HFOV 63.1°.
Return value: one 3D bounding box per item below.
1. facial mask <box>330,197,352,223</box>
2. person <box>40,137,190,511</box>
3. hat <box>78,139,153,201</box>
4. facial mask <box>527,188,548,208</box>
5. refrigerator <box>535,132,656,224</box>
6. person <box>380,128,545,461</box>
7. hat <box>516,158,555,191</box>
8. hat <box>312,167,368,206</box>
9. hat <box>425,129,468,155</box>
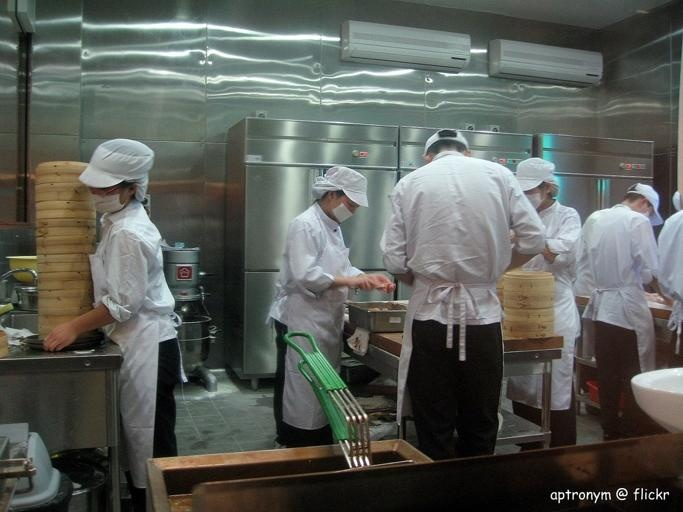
[{"bbox_3d":[-0.002,-0.250,3.043,0.079,0.104,0.109,-44,-27,18],"label":"facial mask"},{"bbox_3d":[-0.936,0.309,2.388,0.382,1.571,0.534,-4,-11,13],"label":"person"},{"bbox_3d":[-0.913,-0.364,2.363,0.285,0.254,0.199,1,40,-49],"label":"hat"},{"bbox_3d":[1.183,-0.351,3.357,0.126,0.087,0.125,-5,15,16],"label":"facial mask"},{"bbox_3d":[2.184,-0.680,4.832,1.181,0.986,0.401,3,-4,-24],"label":"refrigerator"},{"bbox_3d":[0.518,0.189,2.335,0.671,1.290,0.363,-4,-12,17],"label":"person"},{"bbox_3d":[1.200,-0.503,3.359,0.301,0.139,0.205,-12,12,-41],"label":"hat"},{"bbox_3d":[-0.001,-0.386,3.033,0.279,0.147,0.222,11,8,32],"label":"hat"},{"bbox_3d":[0.474,-0.520,2.558,0.146,0.065,0.164,-1,4,3],"label":"hat"}]
